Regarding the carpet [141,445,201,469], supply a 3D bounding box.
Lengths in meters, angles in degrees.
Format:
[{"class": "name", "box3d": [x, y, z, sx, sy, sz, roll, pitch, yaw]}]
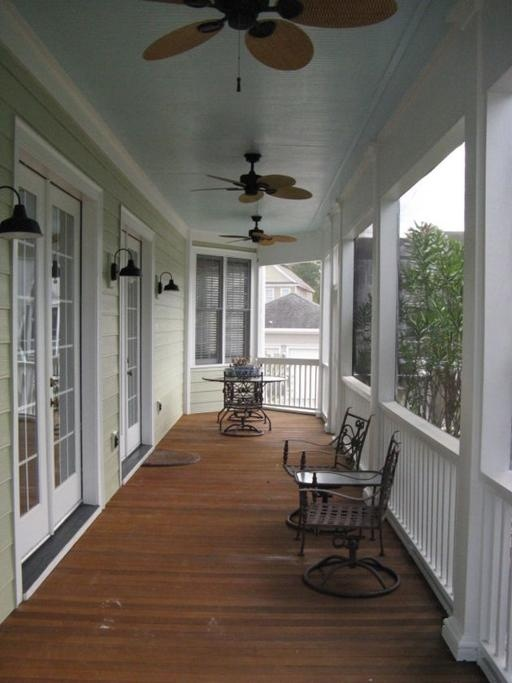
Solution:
[{"class": "carpet", "box3d": [-0.875, 1.265, 5.578, 0.557, 0.026, 0.661, 0, 1, -2]}]

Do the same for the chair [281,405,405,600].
[{"class": "chair", "box3d": [0.578, 0.927, 3.305, 0.719, 1.205, 0.889, 1, -3, -3]}]

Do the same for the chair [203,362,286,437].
[{"class": "chair", "box3d": [-0.228, 0.840, 7.408, 0.926, 0.784, 0.997, 0, -5, 6]}]

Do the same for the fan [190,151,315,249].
[{"class": "fan", "box3d": [0.056, -1.448, 4.567, 0.733, 0.648, 0.782, -2, -13, 11]}]
